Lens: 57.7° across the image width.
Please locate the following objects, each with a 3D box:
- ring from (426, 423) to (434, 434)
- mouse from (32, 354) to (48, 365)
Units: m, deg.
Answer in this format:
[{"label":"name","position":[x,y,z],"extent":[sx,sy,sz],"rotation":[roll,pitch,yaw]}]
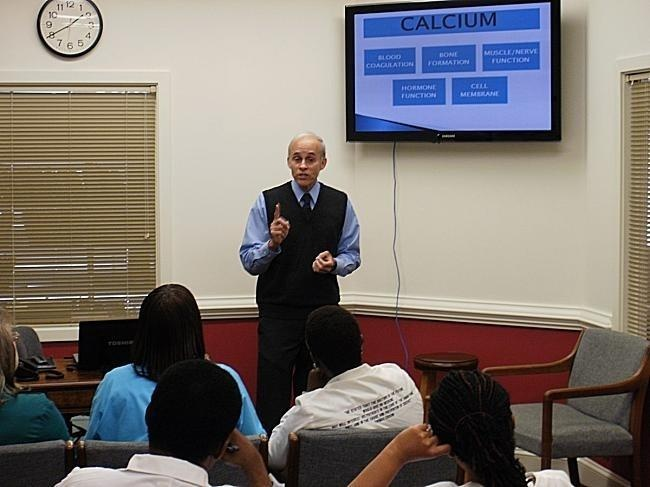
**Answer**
[{"label":"ring","position":[0.257,0.456,1.449],"extent":[0.005,0.020,0.013],"rotation":[-16,3,-21]},{"label":"mouse","position":[-1.523,0.619,3.147],"extent":[0.048,0.023,0.071],"rotation":[2,8,-29]}]
